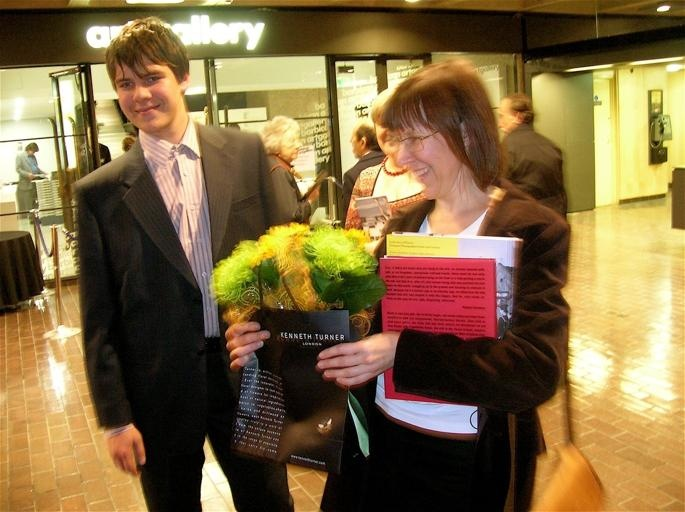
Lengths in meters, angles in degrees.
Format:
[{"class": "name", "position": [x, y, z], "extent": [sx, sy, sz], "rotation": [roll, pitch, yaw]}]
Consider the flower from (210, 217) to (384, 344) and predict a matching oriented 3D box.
[{"class": "flower", "position": [-0.109, 0.076, 1.211], "extent": [0.298, 0.176, 0.315], "rotation": [2, -11, -1]}]

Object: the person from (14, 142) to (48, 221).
[{"class": "person", "position": [-4.660, -1.106, 7.587], "extent": [0.474, 1.070, 0.163], "rotation": [-4, 12, 9]}]

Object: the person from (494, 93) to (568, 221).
[{"class": "person", "position": [1.794, -0.797, 4.368], "extent": [0.503, 0.498, 1.450], "rotation": [2, -27, 40]}]
